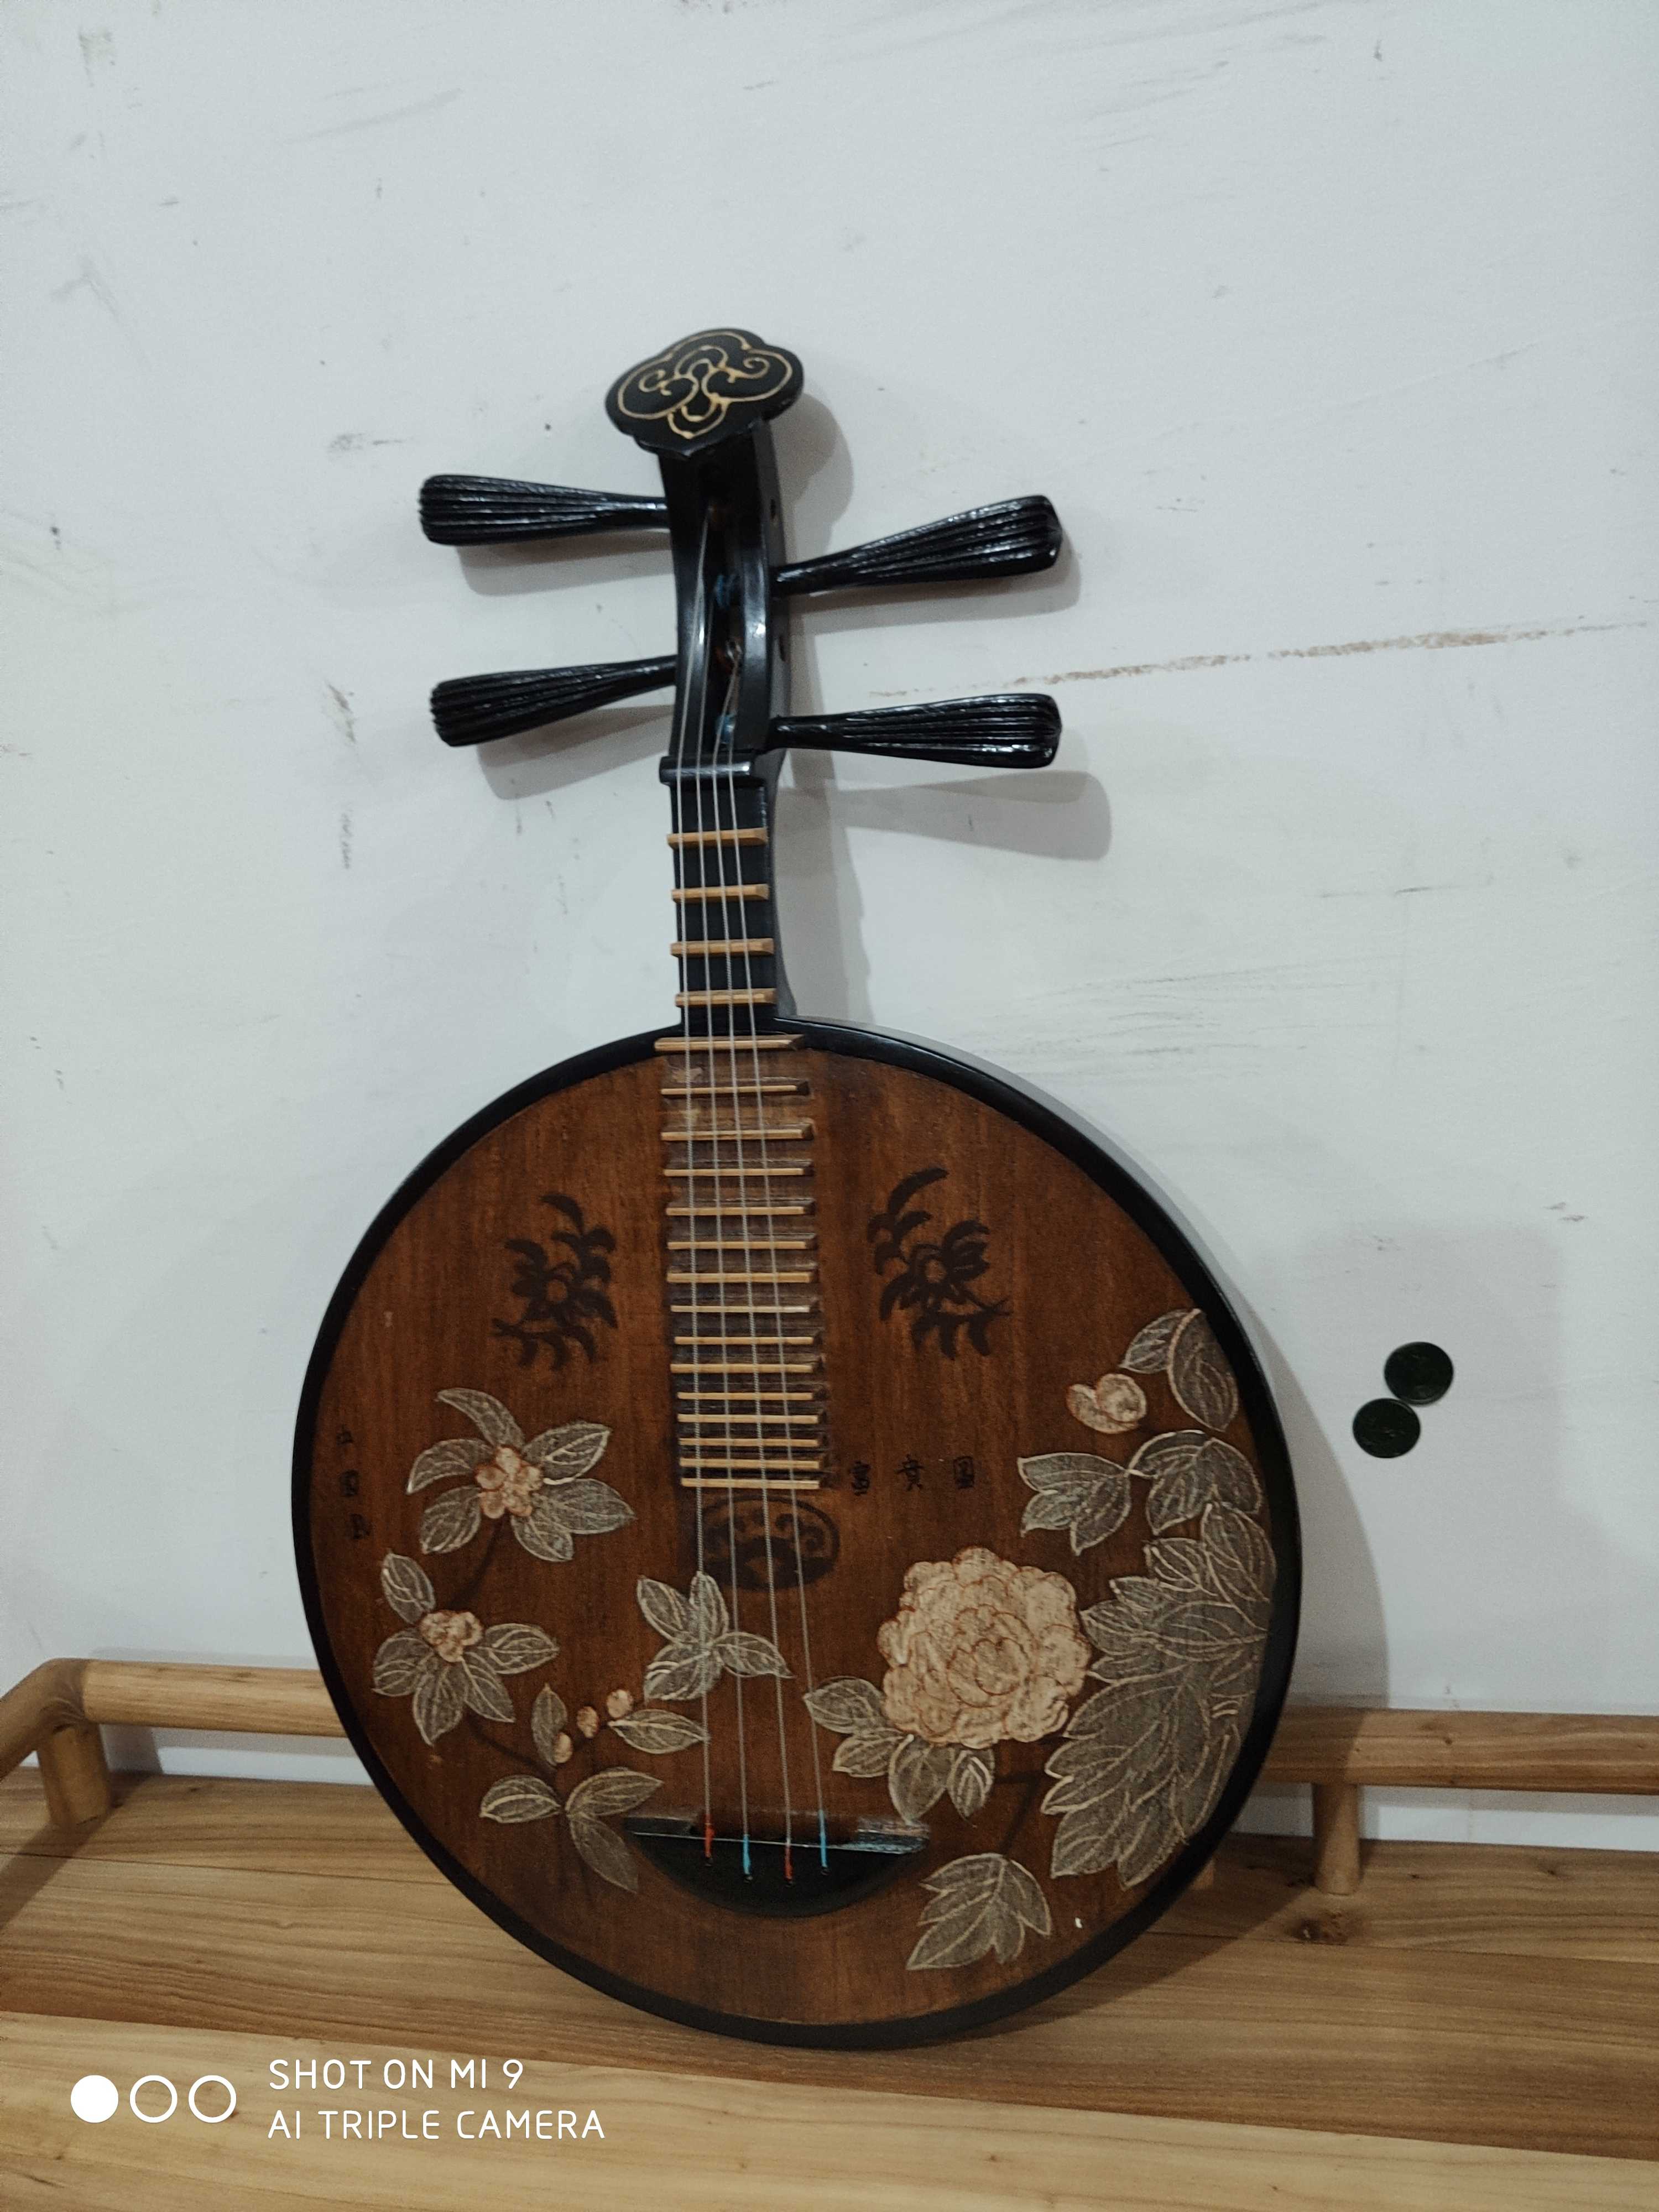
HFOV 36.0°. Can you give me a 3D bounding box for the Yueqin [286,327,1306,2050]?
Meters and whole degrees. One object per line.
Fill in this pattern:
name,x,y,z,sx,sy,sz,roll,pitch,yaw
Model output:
Yueqin,-0.058,0.042,1.379,0.551,0.912,0.163,-8,5,6
